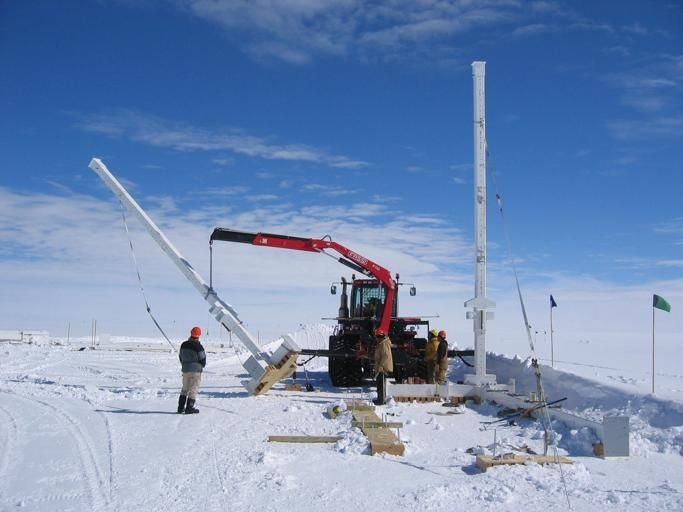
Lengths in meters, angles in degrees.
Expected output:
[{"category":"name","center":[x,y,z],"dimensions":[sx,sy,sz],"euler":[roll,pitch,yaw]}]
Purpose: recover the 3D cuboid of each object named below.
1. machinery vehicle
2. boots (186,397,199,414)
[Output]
[{"category":"machinery vehicle","center":[0.348,2.005,22.365],"dimensions":[4.835,5.379,8.324],"euler":[1,3,9]},{"category":"boots","center":[-3.690,3.664,16.820],"dimensions":[0.324,0.351,0.377],"euler":[0,3,-8]}]
